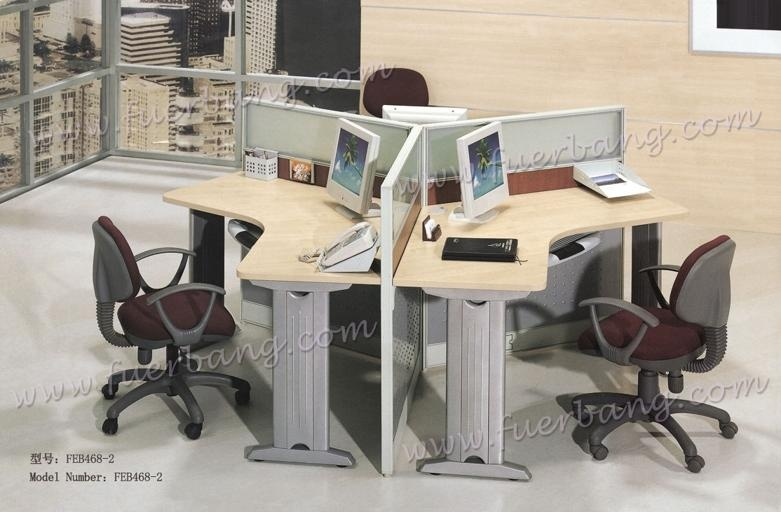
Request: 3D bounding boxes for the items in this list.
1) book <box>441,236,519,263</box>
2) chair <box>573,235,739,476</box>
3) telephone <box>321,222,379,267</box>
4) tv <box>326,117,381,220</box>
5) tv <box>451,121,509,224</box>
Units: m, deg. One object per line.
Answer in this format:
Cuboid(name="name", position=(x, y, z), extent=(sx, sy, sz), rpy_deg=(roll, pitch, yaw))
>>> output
Cuboid(name="book", position=(0.545, -0.034, 4.431), extent=(0.345, 0.043, 0.197), rpy_deg=(2, 23, 10))
Cuboid(name="chair", position=(1.688, 0.543, 4.749), extent=(1.109, 1.296, 1.082), rpy_deg=(5, 12, 30))
Cuboid(name="telephone", position=(-0.254, -0.050, 4.260), extent=(0.312, 0.097, 0.222), rpy_deg=(-20, 17, 10))
Cuboid(name="tv", position=(-0.241, -0.578, 4.976), extent=(0.344, 0.635, 0.565), rpy_deg=(-13, 28, -37))
Cuboid(name="tv", position=(0.601, -0.556, 4.925), extent=(0.308, 0.611, 0.580), rpy_deg=(13, 27, 37))
